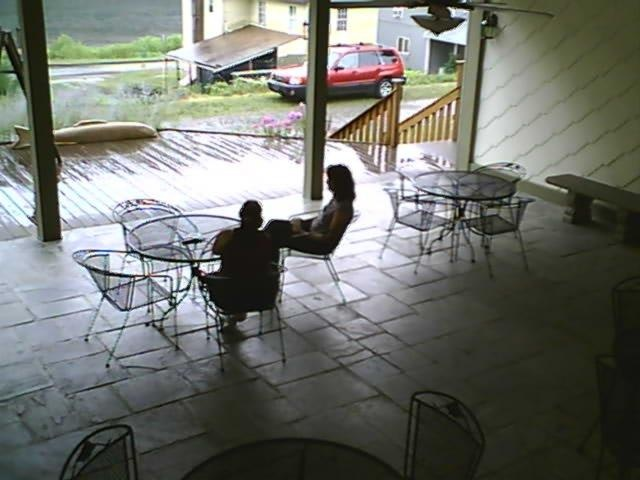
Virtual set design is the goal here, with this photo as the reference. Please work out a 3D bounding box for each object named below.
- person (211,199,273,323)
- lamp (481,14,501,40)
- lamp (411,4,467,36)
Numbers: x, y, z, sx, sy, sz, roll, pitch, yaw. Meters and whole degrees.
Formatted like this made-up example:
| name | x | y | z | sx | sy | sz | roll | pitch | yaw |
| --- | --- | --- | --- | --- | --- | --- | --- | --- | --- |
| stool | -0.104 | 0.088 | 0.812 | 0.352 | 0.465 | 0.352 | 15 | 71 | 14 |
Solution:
| name | x | y | z | sx | sy | sz | roll | pitch | yaw |
| --- | --- | --- | --- | --- | --- | --- | --- | --- | --- |
| person | -0.643 | 0.276 | 4.453 | 0.482 | 1.259 | 0.542 | -7 | 25 | -18 |
| lamp | 2.746 | -3.439 | 8.337 | 0.312 | 0.390 | 0.122 | 6 | 25 | 12 |
| lamp | 1.077 | -1.998 | 4.705 | 0.437 | 0.238 | 0.386 | -2 | 22 | -7 |
